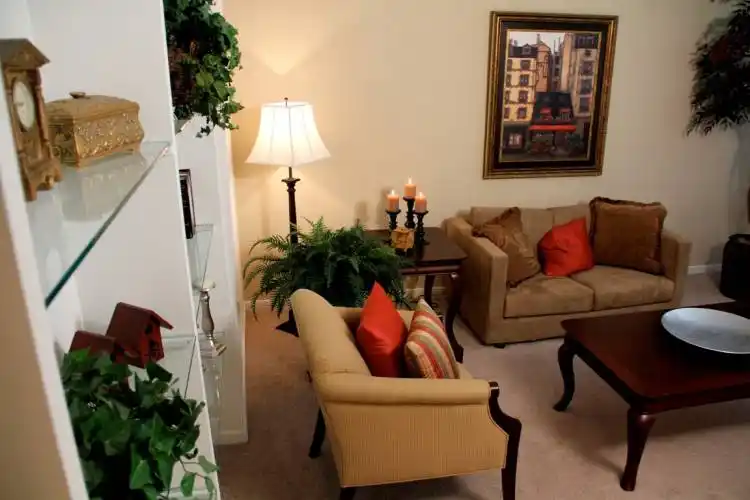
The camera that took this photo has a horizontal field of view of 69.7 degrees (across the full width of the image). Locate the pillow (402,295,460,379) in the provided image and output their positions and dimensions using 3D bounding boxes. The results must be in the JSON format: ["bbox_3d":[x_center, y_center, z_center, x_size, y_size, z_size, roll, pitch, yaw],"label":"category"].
[{"bbox_3d":[0.260,0.415,2.565,0.140,0.281,0.388,-5,8,14],"label":"pillow"}]

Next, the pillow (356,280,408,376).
[{"bbox_3d":[0.016,0.349,2.362,0.121,0.236,0.321,-4,21,3],"label":"pillow"}]

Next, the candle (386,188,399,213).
[{"bbox_3d":[0.109,-0.337,3.702,0.069,0.127,0.183,-1,14,-2],"label":"candle"}]

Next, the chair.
[{"bbox_3d":[0.141,0.600,2.562,0.889,0.907,0.749,-5,23,-11],"label":"chair"}]

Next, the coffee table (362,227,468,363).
[{"bbox_3d":[0.324,0.172,3.669,0.793,0.816,0.860,-5,19,-16],"label":"coffee table"}]

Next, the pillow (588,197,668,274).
[{"bbox_3d":[1.865,-0.089,3.992,0.500,0.536,0.198,4,-5,30],"label":"pillow"}]

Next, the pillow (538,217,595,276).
[{"bbox_3d":[1.396,-0.007,3.970,0.420,0.404,0.128,-9,-11,-9],"label":"pillow"}]

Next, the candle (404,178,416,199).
[{"bbox_3d":[0.237,-0.415,3.759,0.072,0.115,0.175,0,14,1],"label":"candle"}]

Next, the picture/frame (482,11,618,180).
[{"bbox_3d":[1.300,-1.240,4.121,1.203,1.381,0.069,-2,16,-14],"label":"picture/frame"}]

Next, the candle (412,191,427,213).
[{"bbox_3d":[0.288,-0.307,3.591,0.095,0.110,0.056,13,20,40],"label":"candle"}]
